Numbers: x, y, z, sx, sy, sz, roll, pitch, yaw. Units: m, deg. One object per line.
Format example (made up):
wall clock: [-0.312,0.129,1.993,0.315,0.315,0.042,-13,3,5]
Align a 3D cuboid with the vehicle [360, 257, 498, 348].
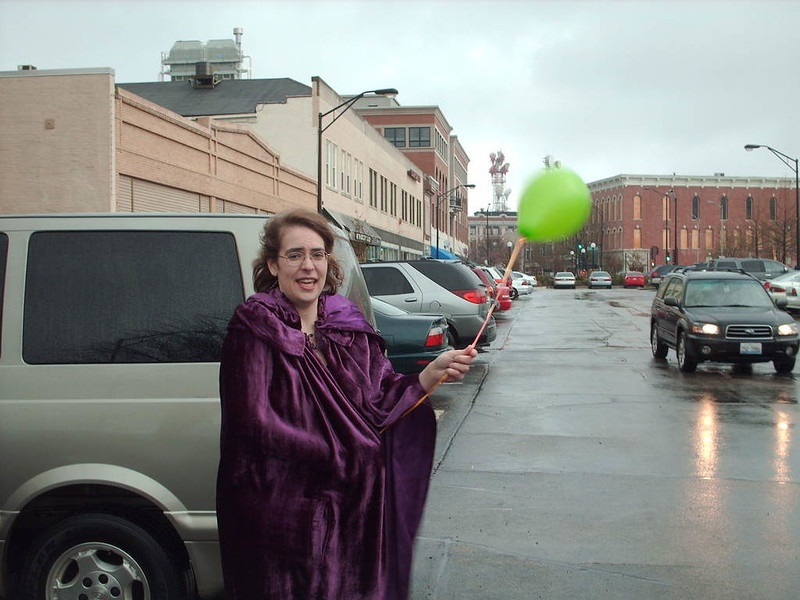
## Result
vehicle: [0.579,0.013,14.446,2.704,1.151,1.293,3,0,8]

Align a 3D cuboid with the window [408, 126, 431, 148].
window: [1.682,-13.985,64.363,1.788,1.846,0.141,0,5,-4]

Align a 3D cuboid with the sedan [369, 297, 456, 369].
sedan: [0.213,0.537,10.180,1.170,0.594,0.658,0,0,4]
